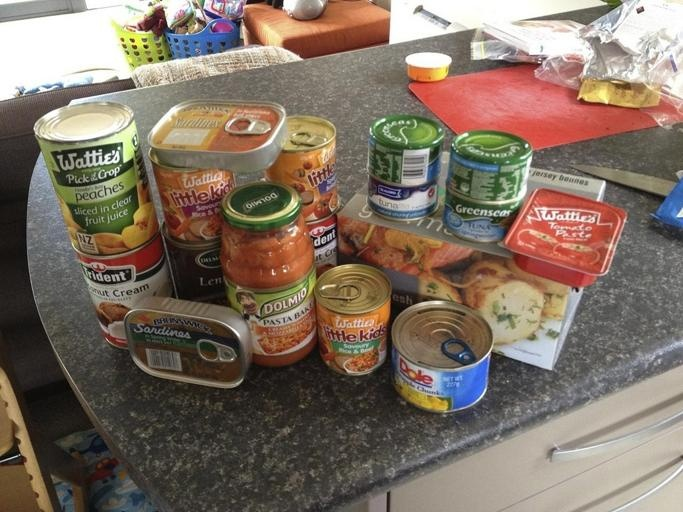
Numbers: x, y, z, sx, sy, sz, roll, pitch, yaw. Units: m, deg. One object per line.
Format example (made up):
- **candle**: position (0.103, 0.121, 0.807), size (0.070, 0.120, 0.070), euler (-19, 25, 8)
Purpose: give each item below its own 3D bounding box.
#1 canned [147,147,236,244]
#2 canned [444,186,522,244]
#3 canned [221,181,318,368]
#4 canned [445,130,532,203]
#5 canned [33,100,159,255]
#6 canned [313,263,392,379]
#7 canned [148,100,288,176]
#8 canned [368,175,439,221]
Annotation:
- **canned**: position (-0.185, -0.094, 0.928), size (0.163, 0.132, 0.124), euler (10, 43, 5)
- **canned**: position (0.204, -0.059, 0.910), size (0.116, 0.065, 0.086), euler (12, 49, 15)
- **canned**: position (-0.103, 0.030, 0.881), size (0.128, 0.263, 0.168), euler (-6, 42, -3)
- **canned**: position (0.215, -0.130, 0.893), size (0.147, 0.070, 0.110), euler (-2, 38, 0)
- **canned**: position (-0.341, -0.113, 0.843), size (0.136, 0.192, 0.159), euler (-14, 42, -12)
- **canned**: position (0.019, 0.095, 0.896), size (0.111, 0.146, 0.128), euler (-1, 40, 2)
- **canned**: position (-0.166, -0.167, 0.836), size (0.203, 0.040, 0.108), euler (5, 51, 8)
- **canned**: position (0.090, -0.086, 0.903), size (0.104, 0.048, 0.078), euler (-7, 41, -4)
